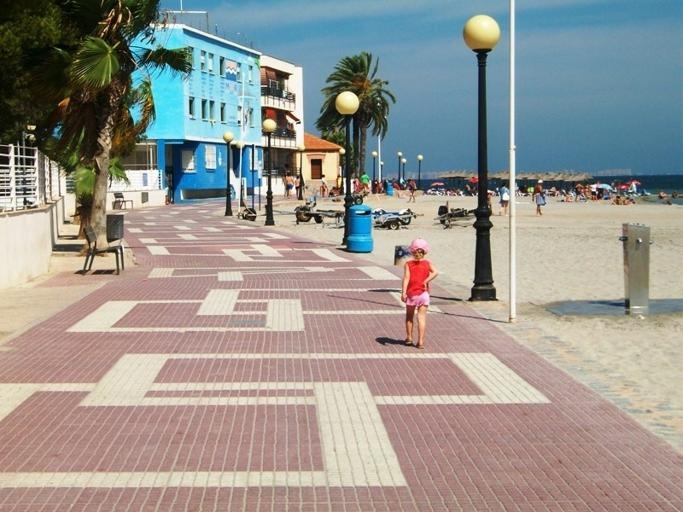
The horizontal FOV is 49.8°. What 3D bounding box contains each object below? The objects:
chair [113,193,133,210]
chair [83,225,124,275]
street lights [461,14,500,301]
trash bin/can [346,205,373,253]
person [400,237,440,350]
[{"bbox_3d":[-13.677,-3.391,45.689,0.464,0.796,1.237,-1,2,14],"label":"chair"},{"bbox_3d":[-5.305,-0.107,16.401,0.873,0.944,0.770,0,2,-15],"label":"chair"},{"bbox_3d":[2.382,-1.656,12.518,0.606,4.829,0.693,0,6,-6],"label":"street lights"},{"bbox_3d":[0.515,-0.785,21.000,0.739,1.337,1.019,1,7,1],"label":"trash bin/can"},{"bbox_3d":[0.989,0.470,9.425,0.406,1.362,0.714,2,7,8],"label":"person"}]
